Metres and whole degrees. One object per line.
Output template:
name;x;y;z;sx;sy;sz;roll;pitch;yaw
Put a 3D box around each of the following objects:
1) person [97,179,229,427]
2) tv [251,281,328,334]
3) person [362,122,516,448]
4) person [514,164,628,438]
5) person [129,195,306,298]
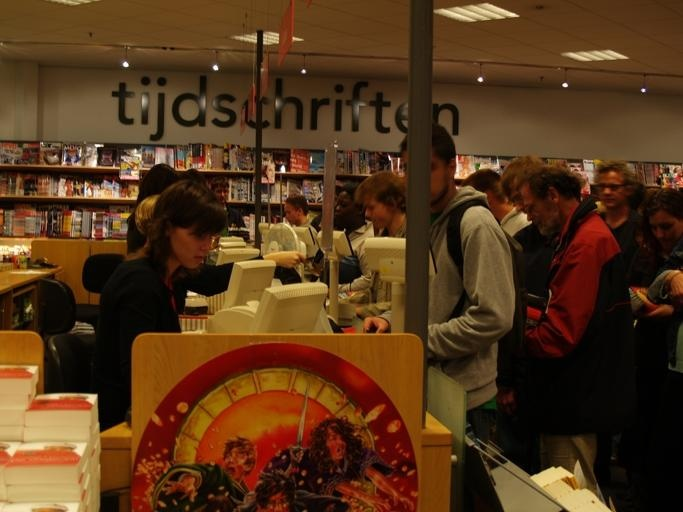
person;-0.684;0.193;2.257;0.502;0.943;0.975;-2;4;-23
tv;-0.185;0.198;2.144;0.183;0.187;0.066;-4;21;-39
person;0.404;0.128;2.256;0.500;1.247;0.482;1;4;19
person;1.110;0.205;2.754;0.500;1.234;0.459;1;4;18
person;-0.621;-0.036;3.147;0.846;0.335;0.577;0;5;-12
